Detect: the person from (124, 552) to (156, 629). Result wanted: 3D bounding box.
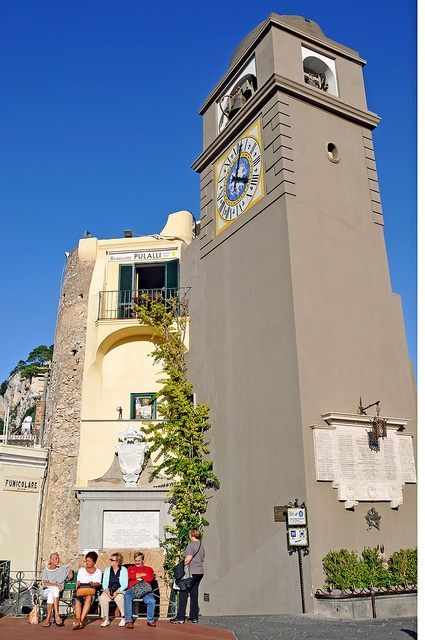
[{"bbox_3d":[-1.045,3.826,8.282,0.370,1.136,0.640,8,-34,-14],"label":"person"}]

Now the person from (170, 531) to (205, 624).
[{"bbox_3d":[-0.361,3.761,8.536,0.464,1.325,0.920,1,-19,-4],"label":"person"}]

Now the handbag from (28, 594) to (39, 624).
[{"bbox_3d":[-2.593,4.280,8.422,0.140,0.229,0.426,5,-22,-16],"label":"handbag"}]

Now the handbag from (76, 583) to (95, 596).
[{"bbox_3d":[-1.795,3.815,8.176,0.153,0.142,0.136,1,-23,-4],"label":"handbag"}]

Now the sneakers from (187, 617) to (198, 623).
[{"bbox_3d":[-0.288,4.389,8.468,0.062,0.101,0.185,15,-30,-42],"label":"sneakers"}]

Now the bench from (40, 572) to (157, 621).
[{"bbox_3d":[-1.363,3.814,8.207,1.085,0.893,0.602,2,-19,-7],"label":"bench"}]

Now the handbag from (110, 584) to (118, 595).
[{"bbox_3d":[-1.404,3.818,8.226,0.080,0.146,0.049,-8,-16,26],"label":"handbag"}]

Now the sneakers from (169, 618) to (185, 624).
[{"bbox_3d":[-0.503,4.291,8.303,0.198,0.110,0.089,4,-34,5],"label":"sneakers"}]

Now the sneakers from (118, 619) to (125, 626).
[{"bbox_3d":[-1.249,4.172,7.994,0.055,0.083,0.175,-6,-23,-3],"label":"sneakers"}]

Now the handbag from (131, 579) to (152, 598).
[{"bbox_3d":[-1.011,3.781,8.151,0.094,0.228,0.226,-34,-21,30],"label":"handbag"}]

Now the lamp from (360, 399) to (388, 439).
[{"bbox_3d":[3.507,2.086,12.406,0.515,0.928,0.811,-14,-24,35],"label":"lamp"}]

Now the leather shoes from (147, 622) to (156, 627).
[{"bbox_3d":[-0.834,4.221,8.046,0.046,0.058,0.118,8,-24,-26],"label":"leather shoes"}]

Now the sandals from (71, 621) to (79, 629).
[{"bbox_3d":[-1.822,4.071,7.716,0.090,0.067,0.248,4,-23,-12],"label":"sandals"}]
